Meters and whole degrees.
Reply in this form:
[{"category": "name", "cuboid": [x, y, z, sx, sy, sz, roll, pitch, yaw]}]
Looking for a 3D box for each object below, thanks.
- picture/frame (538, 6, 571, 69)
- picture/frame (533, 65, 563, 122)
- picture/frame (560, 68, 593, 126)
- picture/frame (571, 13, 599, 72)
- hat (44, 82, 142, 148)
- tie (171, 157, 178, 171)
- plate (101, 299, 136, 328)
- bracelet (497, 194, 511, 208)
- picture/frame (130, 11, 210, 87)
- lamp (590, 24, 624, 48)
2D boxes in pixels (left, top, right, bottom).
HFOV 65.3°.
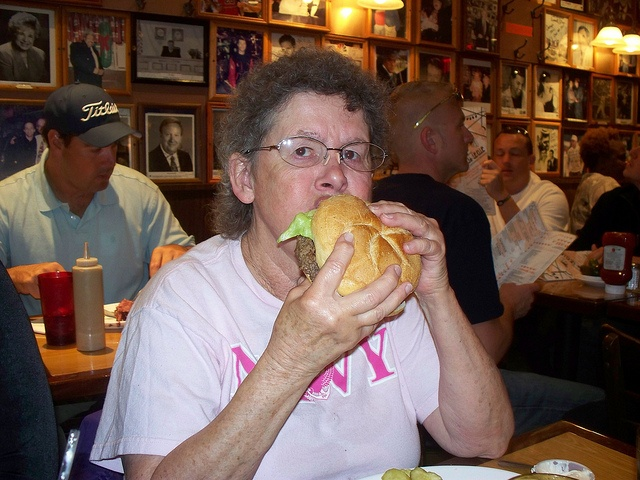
[{"category": "picture/frame", "cuboid": [3.074, -2.607, 6.518, 0.599, 0.662, 0.106, -5, 11, -38]}, {"category": "picture/frame", "cuboid": [2.948, -1.911, 6.495, 0.734, 0.915, 0.066, 2, -2, -37]}, {"category": "picture/frame", "cuboid": [3.474, -1.944, 6.800, 0.782, 0.939, 0.065, -3, 2, -39]}, {"category": "picture/frame", "cuboid": [3.585, -2.651, 6.816, 0.466, 0.647, 0.109, -5, 10, -38]}, {"category": "hat", "cuboid": [-1.438, -0.781, 3.171, 0.558, 0.310, 0.372, 11, 20, 17]}, {"category": "tie", "cuboid": [-1.224, -0.620, 4.192, 0.054, 0.099, 0.023, 0, -2, -29]}, {"category": "plate", "cuboid": [-1.002, 0.374, 2.454, 0.178, 0.182, 0.043, -7, -22, 32]}, {"category": "bracelet", "cuboid": [1.656, -0.335, 4.531, 0.128, 0.073, 0.123, -24, -11, -43]}, {"category": "picture/frame", "cuboid": [-1.240, -1.551, 4.040, 0.619, 0.555, 0.113, -1, 6, -24]}, {"category": "lamp", "cuboid": [3.492, -2.431, 6.108, 0.275, 0.166, 0.288, 1, 4, 0]}]
